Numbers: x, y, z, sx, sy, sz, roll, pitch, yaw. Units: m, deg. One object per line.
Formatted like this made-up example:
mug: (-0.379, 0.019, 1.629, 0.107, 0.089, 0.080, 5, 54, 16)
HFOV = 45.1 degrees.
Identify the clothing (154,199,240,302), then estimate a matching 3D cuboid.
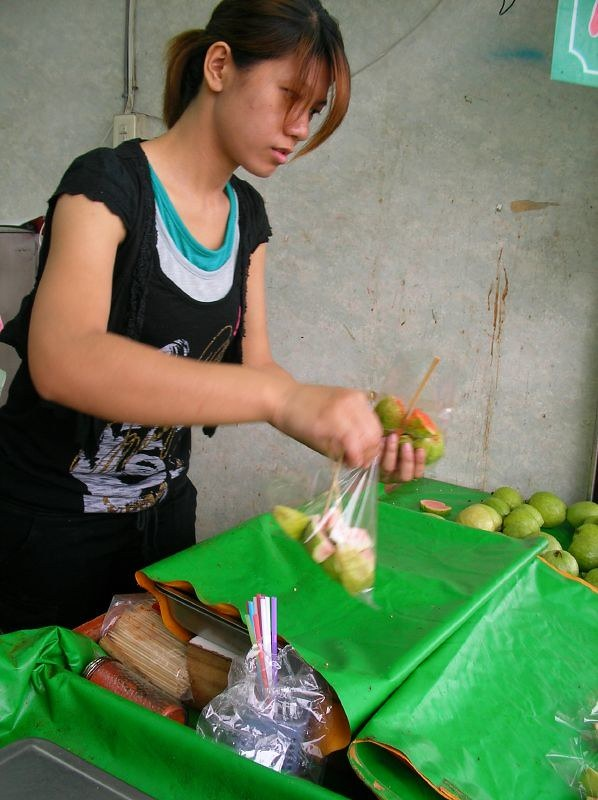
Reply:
clothing: (-0.162, -0.228, 1.119, 0.105, 0.126, 0.034, -5, -9, -35)

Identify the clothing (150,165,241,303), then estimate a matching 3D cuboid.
clothing: (-0.154, -0.254, 1.132, 0.123, 0.186, 0.109, -12, -12, -41)
